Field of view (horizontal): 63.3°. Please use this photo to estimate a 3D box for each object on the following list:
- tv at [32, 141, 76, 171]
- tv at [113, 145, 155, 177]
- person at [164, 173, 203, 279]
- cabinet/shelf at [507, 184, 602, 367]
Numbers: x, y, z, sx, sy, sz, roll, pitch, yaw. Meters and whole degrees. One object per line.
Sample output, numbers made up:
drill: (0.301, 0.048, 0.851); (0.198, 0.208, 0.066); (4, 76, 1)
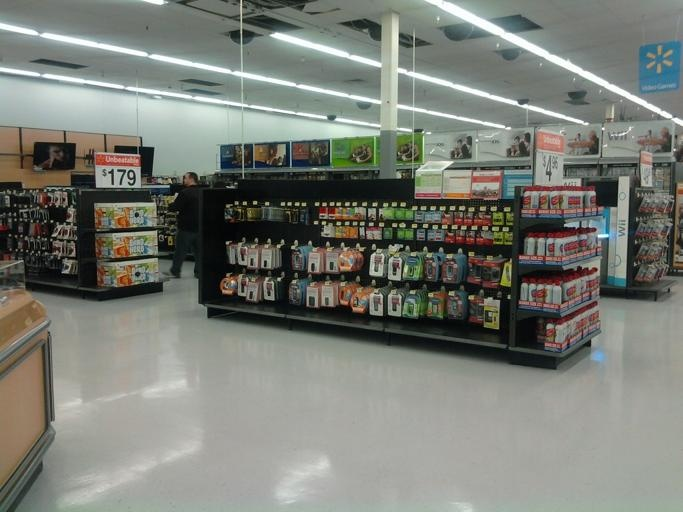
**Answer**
tv: (-7.902, -2.718, 15.065); (0.122, 0.600, 0.894); (6, 9, 39)
tv: (-6.469, -2.965, 17.359); (1.096, 0.973, 1.457); (1, 11, 7)
person: (-2.988, -0.500, 10.469); (0.593, 2.093, 1.500); (-3, 11, -16)
cabinet/shelf: (2.280, 0.216, 6.047); (0.743, 2.074, 2.021); (1, 4, 41)
